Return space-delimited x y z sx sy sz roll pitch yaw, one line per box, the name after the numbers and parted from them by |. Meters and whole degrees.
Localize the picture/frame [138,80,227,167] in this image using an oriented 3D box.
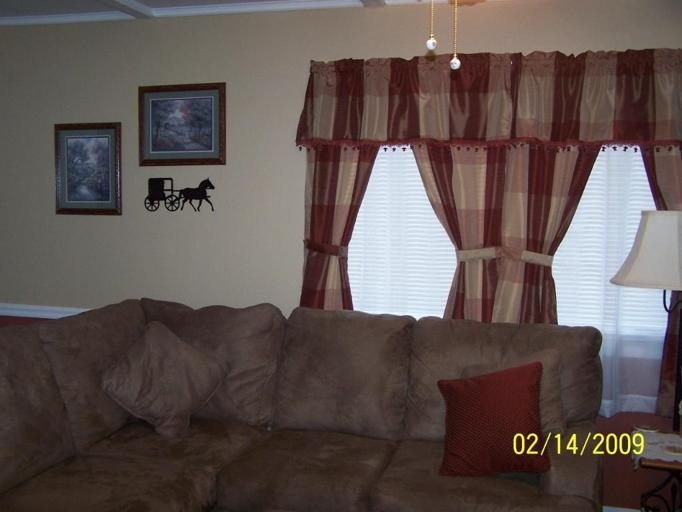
-1.173 -1.008 4.814 0.592 0.570 0.049 1 4 12 | picture/frame

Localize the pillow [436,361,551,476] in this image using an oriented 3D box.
0.817 0.864 3.383 0.538 0.560 0.179 -5 -12 9 | pillow

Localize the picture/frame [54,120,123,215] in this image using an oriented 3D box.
-1.970 -0.710 5.006 0.649 0.835 0.058 2 7 13 | picture/frame
